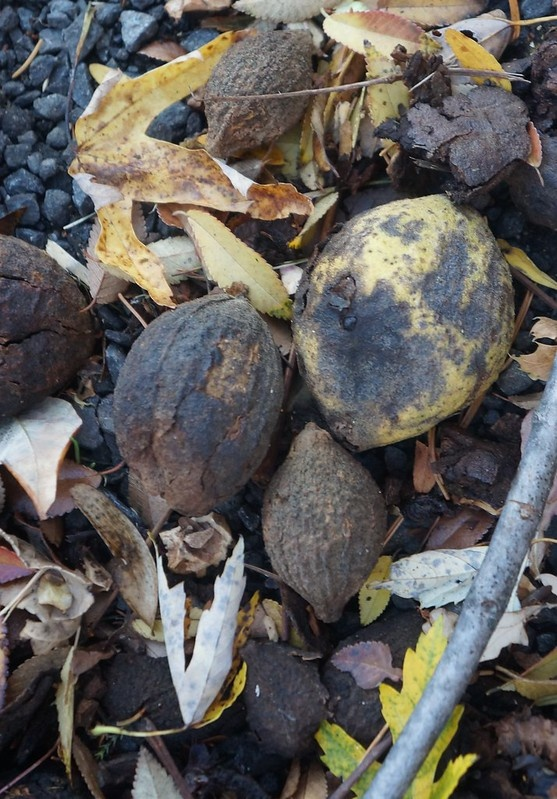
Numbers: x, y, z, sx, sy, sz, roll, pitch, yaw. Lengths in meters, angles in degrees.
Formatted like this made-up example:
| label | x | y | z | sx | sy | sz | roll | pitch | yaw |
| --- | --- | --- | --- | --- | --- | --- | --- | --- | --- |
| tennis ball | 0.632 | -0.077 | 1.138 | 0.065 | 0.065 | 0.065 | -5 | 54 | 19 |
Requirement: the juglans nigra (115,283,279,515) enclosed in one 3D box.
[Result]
| label | x | y | z | sx | sy | sz | roll | pitch | yaw |
| --- | --- | --- | --- | --- | --- | --- | --- | --- | --- |
| juglans nigra | -0.253 | -0.026 | 2.411 | 0.538 | 0.442 | 0.662 | 14 | 78 | -12 |

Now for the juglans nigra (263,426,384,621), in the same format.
| label | x | y | z | sx | sy | sz | roll | pitch | yaw |
| --- | --- | --- | --- | --- | --- | --- | --- | --- | --- |
| juglans nigra | 0.148 | 0.360 | 2.434 | 0.413 | 0.213 | 0.532 | -6 | 84 | 15 |

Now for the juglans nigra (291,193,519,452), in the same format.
| label | x | y | z | sx | sy | sz | roll | pitch | yaw |
| --- | --- | --- | --- | --- | --- | --- | --- | --- | --- |
| juglans nigra | 0.363 | -0.211 | 2.367 | 0.612 | 0.631 | 0.491 | 0 | 44 | 0 |
